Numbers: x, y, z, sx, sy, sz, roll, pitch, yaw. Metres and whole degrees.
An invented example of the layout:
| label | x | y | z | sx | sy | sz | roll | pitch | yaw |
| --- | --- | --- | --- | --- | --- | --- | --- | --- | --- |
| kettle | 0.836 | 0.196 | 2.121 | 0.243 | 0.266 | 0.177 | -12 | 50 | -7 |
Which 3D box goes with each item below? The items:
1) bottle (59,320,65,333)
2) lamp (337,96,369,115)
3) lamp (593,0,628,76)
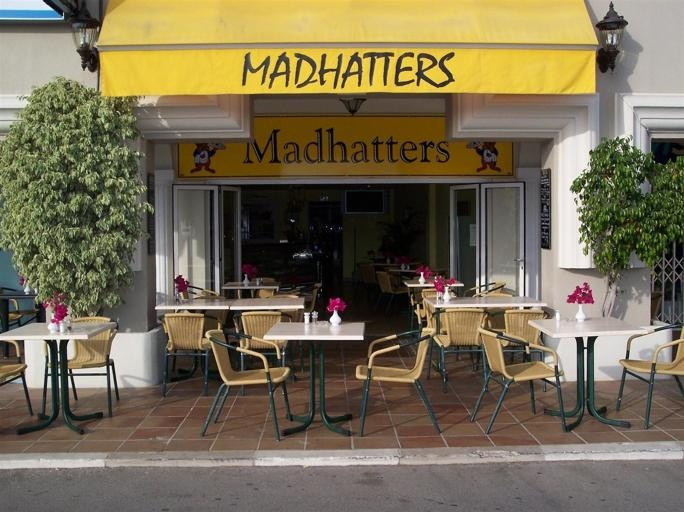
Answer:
| label | x | y | z | sx | sy | sz | roll | pitch | yaw |
| --- | --- | --- | --- | --- | --- | --- | --- | --- | --- |
| bottle | -2.969 | 0.755 | 6.925 | 0.072 | 0.115 | 0.117 | -3 | 3 | -19 |
| lamp | 0.166 | -2.496 | 10.707 | 0.362 | 0.278 | 0.370 | 0 | 4 | 1 |
| lamp | 3.454 | -2.825 | 8.353 | 0.358 | 0.908 | 0.461 | -1 | 3 | 24 |
